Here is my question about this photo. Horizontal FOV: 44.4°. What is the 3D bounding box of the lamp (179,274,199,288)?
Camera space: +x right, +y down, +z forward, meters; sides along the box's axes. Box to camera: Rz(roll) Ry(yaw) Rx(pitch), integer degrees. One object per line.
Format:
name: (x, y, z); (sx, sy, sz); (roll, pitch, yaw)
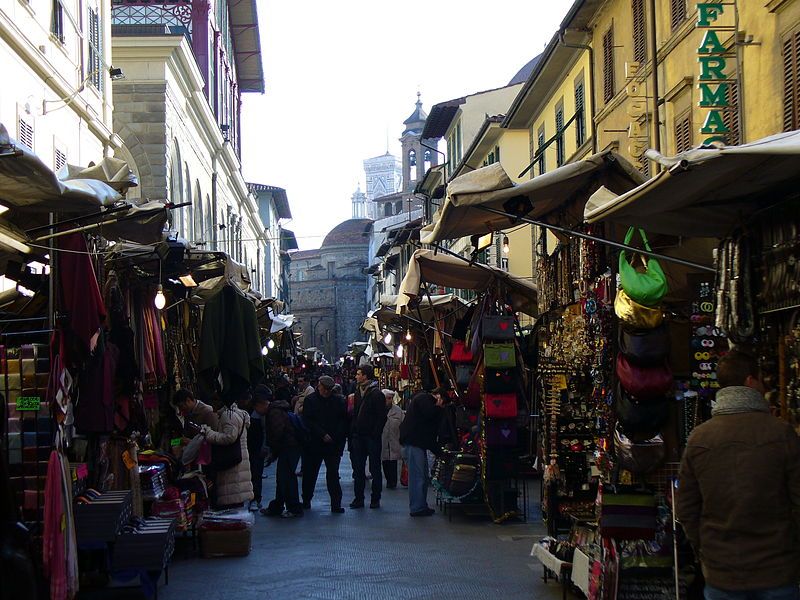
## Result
lamp: (-2.226, -0.205, 10.340); (0.145, 0.117, 0.152); (-5, -39, 37)

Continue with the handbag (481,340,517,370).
handbag: (1.121, 0.625, 10.890); (0.413, 0.328, 0.251); (1, -10, -7)

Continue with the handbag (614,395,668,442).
handbag: (1.783, 0.878, 7.264); (0.317, 0.305, 0.315); (1, -4, -8)

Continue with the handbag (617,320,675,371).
handbag: (1.786, 0.334, 7.099); (0.330, 0.331, 0.260); (3, 1, 44)

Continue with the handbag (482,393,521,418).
handbag: (1.131, 1.195, 10.959); (0.397, 0.278, 0.161); (3, -8, -16)

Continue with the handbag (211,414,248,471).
handbag: (-2.003, 1.741, 11.832); (0.415, 0.847, 0.489); (1, -2, 14)

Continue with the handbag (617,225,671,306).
handbag: (1.811, -0.248, 7.295); (0.359, 0.672, 0.580); (-1, -8, 13)

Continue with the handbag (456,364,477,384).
handbag: (0.842, 0.948, 12.368); (0.234, 0.255, 0.189); (0, -6, 0)

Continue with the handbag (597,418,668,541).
handbag: (1.706, 1.374, 7.105); (0.351, 0.526, 0.913); (0, -19, 1)

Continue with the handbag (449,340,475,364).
handbag: (0.824, 0.676, 12.738); (0.239, 0.269, 0.264); (2, 2, 8)

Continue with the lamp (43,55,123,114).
lamp: (-6.124, -4.114, 18.923); (1.660, 0.722, 0.313); (-6, -2, 4)
